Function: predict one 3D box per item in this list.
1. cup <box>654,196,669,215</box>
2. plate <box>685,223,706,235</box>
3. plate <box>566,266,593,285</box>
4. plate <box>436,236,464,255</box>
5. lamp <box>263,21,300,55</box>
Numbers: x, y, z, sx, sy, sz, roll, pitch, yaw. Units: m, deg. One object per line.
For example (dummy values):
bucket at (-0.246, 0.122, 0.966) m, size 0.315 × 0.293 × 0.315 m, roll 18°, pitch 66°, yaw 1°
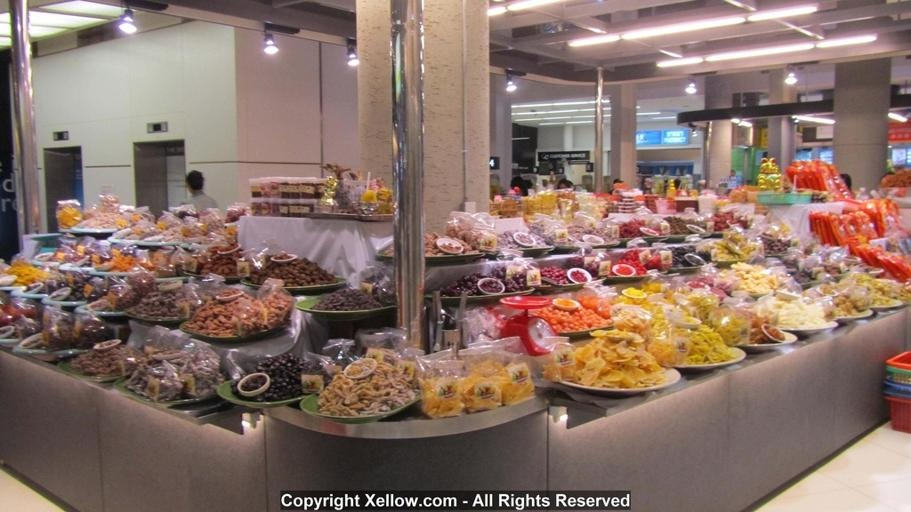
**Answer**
cup at (2.729, -0.656, 7.909) m, size 0.235 × 0.179 × 0.201 m, roll 1°, pitch 5°, yaw 19°
plate at (2.797, -0.307, 7.005) m, size 0.156 × 0.030 × 0.151 m, roll 6°, pitch 12°, yaw -43°
plate at (1.204, 0.200, 5.827) m, size 0.201 × 0.045 × 0.181 m, roll -3°, pitch 34°, yaw -32°
plate at (-0.045, -0.090, 5.422) m, size 0.199 × 0.044 × 0.183 m, roll -7°, pitch 33°, yaw -35°
lamp at (-2.829, -3.415, 9.575) m, size 0.624 × 0.450 × 0.541 m, roll -1°, pitch 2°, yaw -21°
